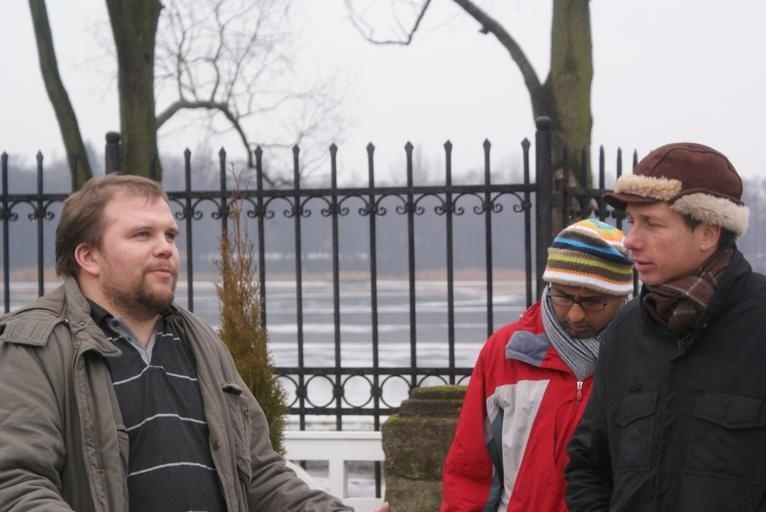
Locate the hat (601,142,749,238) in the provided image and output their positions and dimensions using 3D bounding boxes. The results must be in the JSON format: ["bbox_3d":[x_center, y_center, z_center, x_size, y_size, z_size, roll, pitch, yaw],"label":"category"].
[{"bbox_3d":[1.764,-0.365,12.512,0.858,0.474,0.672,14,-5,2],"label":"hat"}]
